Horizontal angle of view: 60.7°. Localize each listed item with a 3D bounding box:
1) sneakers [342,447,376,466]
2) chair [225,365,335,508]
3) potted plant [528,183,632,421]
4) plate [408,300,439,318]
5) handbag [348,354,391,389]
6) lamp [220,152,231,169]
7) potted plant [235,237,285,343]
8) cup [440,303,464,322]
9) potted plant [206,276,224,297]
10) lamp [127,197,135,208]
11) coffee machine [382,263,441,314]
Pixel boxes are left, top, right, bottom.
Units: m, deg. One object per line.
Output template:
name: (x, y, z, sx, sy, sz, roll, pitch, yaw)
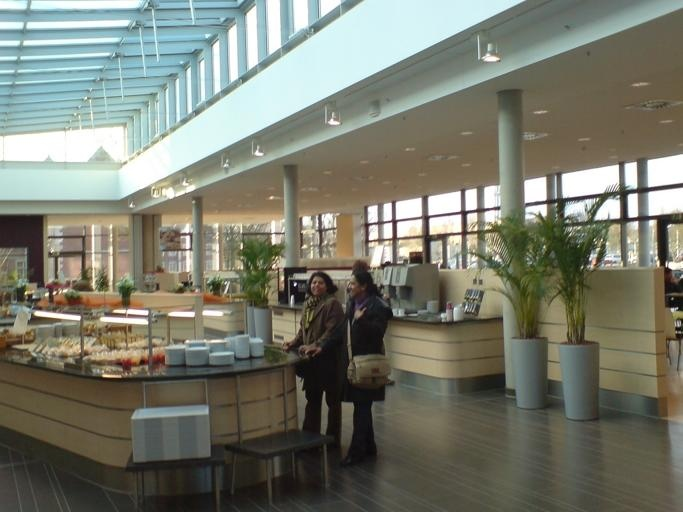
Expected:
sneakers: (0.155, 1.974, 5.790, 0.398, 0.188, 0.138, 6, -12, -31)
chair: (-0.579, 1.595, 5.213, 0.895, 1.009, 0.655, -4, 6, -38)
potted plant: (2.832, 0.556, 7.092, 0.799, 2.706, 0.759, 2, 5, 27)
plate: (1.260, 0.811, 9.038, 0.482, 0.206, 0.780, 0, 5, 8)
handbag: (0.267, 1.099, 5.585, 0.402, 0.343, 0.255, 5, -2, -19)
lamp: (-2.589, -2.151, 13.152, 0.179, 0.302, 0.286, 1, 5, 11)
potted plant: (-1.747, 0.721, 12.476, 0.925, 2.187, 1.571, -1, 5, -10)
cup: (1.598, 0.808, 8.442, 0.358, 0.363, 0.208, -4, 4, -13)
potted plant: (-3.392, 0.796, 15.535, 0.471, 0.530, 0.500, -2, -10, 19)
lamp: (-7.555, -1.953, 20.948, 0.212, 0.305, 0.356, 1, 9, -11)
coffee machine: (1.119, 0.545, 9.732, 0.582, 0.841, 0.898, -4, 2, -25)
